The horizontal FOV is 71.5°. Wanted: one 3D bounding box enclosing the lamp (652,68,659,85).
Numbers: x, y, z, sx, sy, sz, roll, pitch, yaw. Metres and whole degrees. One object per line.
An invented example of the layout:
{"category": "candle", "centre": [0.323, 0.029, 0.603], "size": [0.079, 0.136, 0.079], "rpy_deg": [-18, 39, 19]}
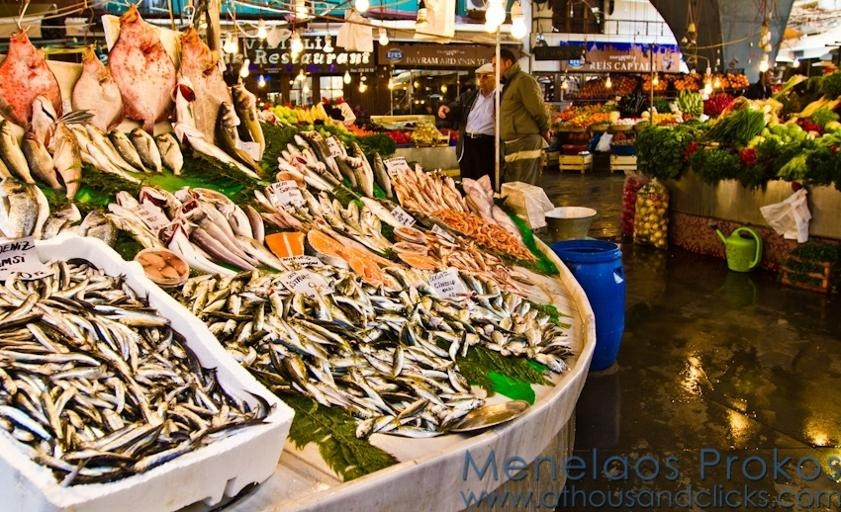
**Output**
{"category": "lamp", "centre": [5.882, -4.457, 14.652], "size": [0.078, 0.301, 1.085], "rpy_deg": [4, 16, 18]}

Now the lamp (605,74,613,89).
{"category": "lamp", "centre": [6.190, -5.714, 19.306], "size": [0.219, 0.371, 0.600], "rpy_deg": [3, 15, 16]}

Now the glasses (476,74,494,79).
{"category": "glasses", "centre": [0.786, -2.205, 7.192], "size": [0.203, 0.076, 0.107], "rpy_deg": [7, 16, 25]}
